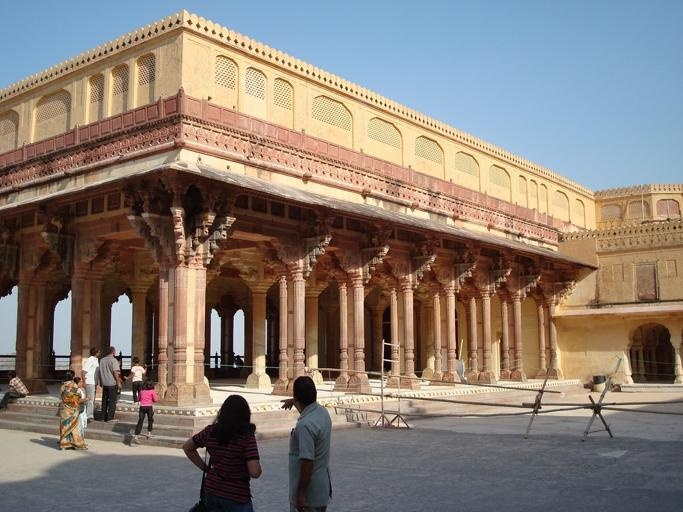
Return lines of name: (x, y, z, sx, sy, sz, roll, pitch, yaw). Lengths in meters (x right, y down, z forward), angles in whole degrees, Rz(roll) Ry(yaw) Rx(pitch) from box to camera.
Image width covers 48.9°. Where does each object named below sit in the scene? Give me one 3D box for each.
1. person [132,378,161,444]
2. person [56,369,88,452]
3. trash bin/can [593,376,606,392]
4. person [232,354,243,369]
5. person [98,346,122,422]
person: (-3.890, 3.051, 14.809, 0.419, 1.134, 0.856, 3, -11, -15)
person: (-5.007, 2.873, 14.071, 0.494, 1.410, 0.518, 3, -11, -18)
trash bin/can: (9.427, 4.619, 27.359, 0.481, 0.577, 0.957, -4, -11, 18)
person: (-4.213, 4.283, 30.722, 0.398, 0.553, 1.941, 1, -10, -8)
person: (-4.942, 2.702, 15.927, 0.469, 1.539, 0.897, 3, -11, -17)
